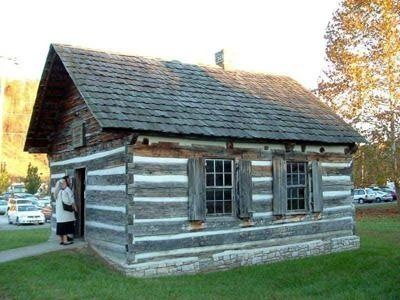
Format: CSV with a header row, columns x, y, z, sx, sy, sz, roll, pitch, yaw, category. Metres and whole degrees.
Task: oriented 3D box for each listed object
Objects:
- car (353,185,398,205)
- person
x,y,z,sx,sy,sz,roll,pitch,yaw,category
17.206,4.609,38.589,4.256,1.423,2.913,1,2,-8,car
-4.127,1.882,11.942,0.627,2.112,0.918,1,2,-22,person
